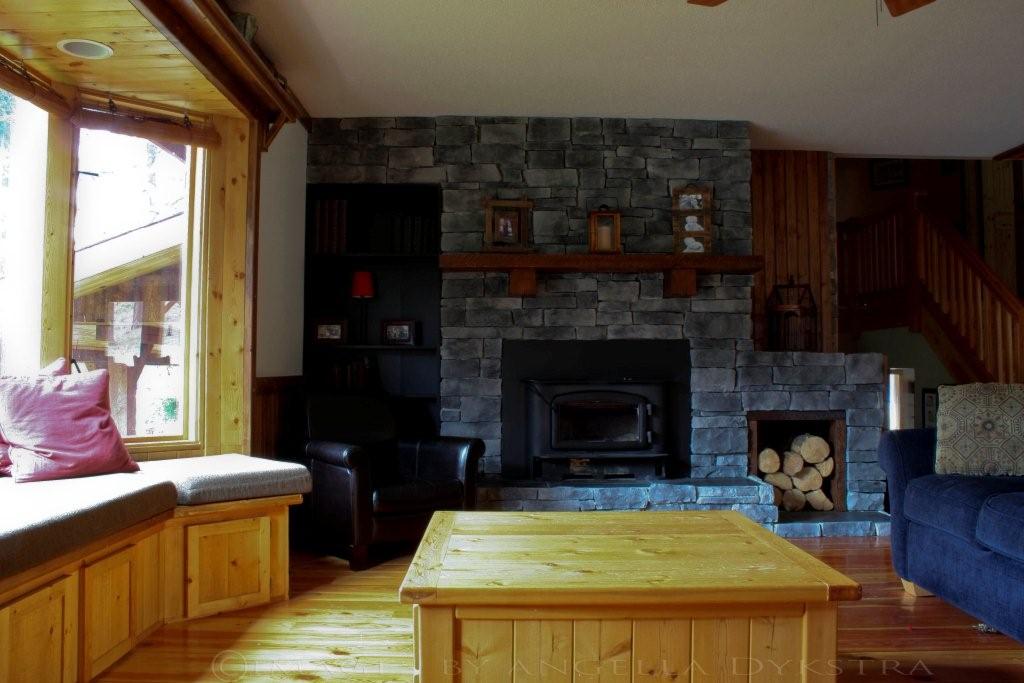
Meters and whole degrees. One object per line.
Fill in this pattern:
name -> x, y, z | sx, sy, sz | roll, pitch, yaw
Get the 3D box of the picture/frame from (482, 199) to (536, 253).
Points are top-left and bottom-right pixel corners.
picture/frame -> -0.035, -0.892, 6.618 | 0.495, 0.408, 0.163 | 0, -5, -2

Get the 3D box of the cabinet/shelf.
cabinet/shelf -> -1.177, 0.020, 7.171 | 1.232, 2.560, 0.305 | 6, 22, 3

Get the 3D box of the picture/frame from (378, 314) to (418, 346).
picture/frame -> -0.871, -0.078, 6.771 | 0.379, 0.177, 0.246 | 2, -2, 2
